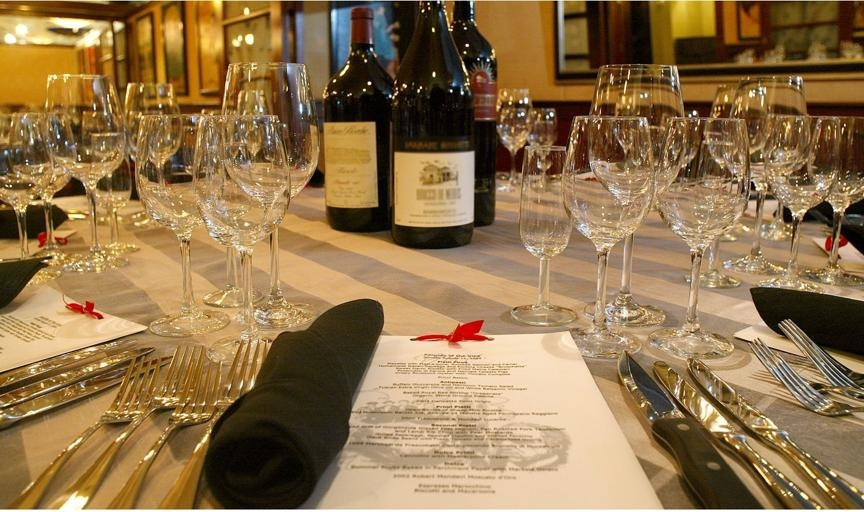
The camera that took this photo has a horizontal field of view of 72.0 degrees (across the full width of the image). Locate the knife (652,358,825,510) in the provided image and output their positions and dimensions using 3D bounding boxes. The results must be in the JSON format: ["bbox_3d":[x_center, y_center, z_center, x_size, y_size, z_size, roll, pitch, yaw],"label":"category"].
[{"bbox_3d":[0.397,0.240,0.839,0.052,0.019,0.380,-25,25,1],"label":"knife"}]

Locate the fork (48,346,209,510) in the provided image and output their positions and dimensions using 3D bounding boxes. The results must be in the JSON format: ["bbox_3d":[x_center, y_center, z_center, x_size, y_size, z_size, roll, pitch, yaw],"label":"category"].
[{"bbox_3d":[-0.398,0.210,0.870,0.059,0.050,0.338,0,29,15],"label":"fork"}]

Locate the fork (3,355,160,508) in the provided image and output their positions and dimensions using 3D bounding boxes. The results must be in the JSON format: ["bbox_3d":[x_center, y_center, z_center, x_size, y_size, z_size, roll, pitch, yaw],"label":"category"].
[{"bbox_3d":[-0.446,0.226,0.832,0.049,0.045,0.302,1,30,14],"label":"fork"}]

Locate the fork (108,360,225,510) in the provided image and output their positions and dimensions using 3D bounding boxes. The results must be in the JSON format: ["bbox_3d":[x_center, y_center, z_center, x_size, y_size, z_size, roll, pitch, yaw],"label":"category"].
[{"bbox_3d":[-0.341,0.228,0.826,0.043,0.035,0.246,-1,37,21],"label":"fork"}]

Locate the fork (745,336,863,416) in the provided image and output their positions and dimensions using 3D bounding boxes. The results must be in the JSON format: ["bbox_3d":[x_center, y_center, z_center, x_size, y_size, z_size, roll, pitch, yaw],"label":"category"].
[{"bbox_3d":[0.554,0.190,0.931,0.039,0.039,0.229,-7,18,-10],"label":"fork"}]
